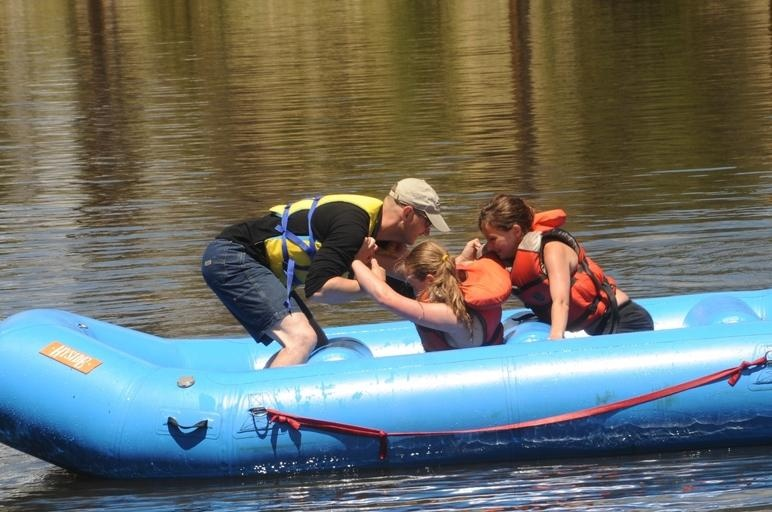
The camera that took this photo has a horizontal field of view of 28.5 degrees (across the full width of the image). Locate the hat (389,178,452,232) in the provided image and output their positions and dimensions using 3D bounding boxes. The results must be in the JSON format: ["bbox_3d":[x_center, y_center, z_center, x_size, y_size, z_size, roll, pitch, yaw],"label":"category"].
[{"bbox_3d":[0.414,-0.604,17.909,0.864,0.294,0.480,17,-15,16],"label":"hat"}]
